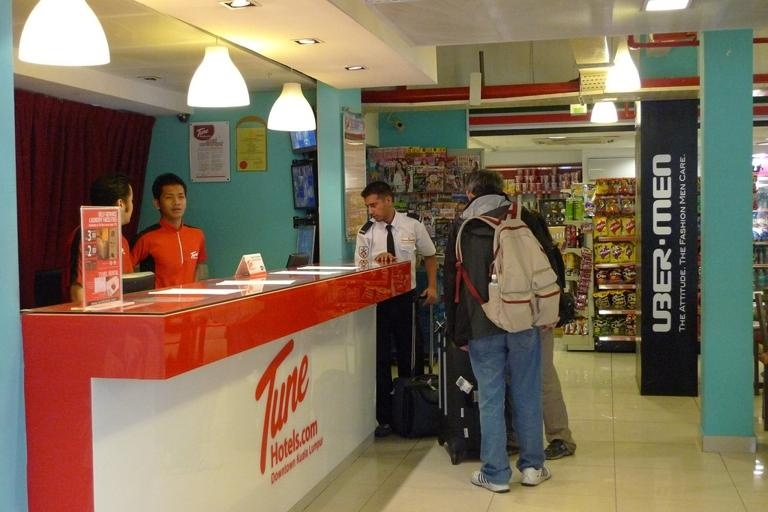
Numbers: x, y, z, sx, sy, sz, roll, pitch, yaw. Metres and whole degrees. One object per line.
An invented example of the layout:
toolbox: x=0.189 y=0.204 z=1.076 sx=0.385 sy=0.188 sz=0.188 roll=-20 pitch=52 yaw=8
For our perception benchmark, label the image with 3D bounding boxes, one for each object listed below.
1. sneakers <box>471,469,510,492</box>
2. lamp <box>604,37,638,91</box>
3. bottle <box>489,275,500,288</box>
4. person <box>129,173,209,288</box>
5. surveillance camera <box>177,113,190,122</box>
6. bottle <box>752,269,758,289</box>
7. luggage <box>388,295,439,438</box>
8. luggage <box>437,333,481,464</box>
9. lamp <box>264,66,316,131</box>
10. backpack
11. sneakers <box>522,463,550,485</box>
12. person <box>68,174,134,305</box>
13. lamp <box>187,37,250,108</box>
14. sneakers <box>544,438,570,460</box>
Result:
sneakers: x=0.762 y=1.666 z=4.244 sx=0.112 sy=0.119 sz=0.291 roll=-8 pitch=16 yaw=-42
lamp: x=2.511 y=-1.987 z=6.088 sx=0.345 sy=0.589 sz=0.280 roll=1 pitch=6 yaw=20
bottle: x=0.762 y=0.182 z=4.000 sx=0.079 sy=0.082 sz=0.076 roll=-4 pitch=9 yaw=-16
person: x=-1.972 y=-0.222 z=5.310 sx=0.632 sy=1.029 sz=0.386 roll=-3 pitch=6 yaw=-21
surveillance camera: x=-2.582 y=-1.777 z=7.532 sx=0.142 sy=0.109 sz=0.081 roll=-3 pitch=6 yaw=-13
bottle: x=5.396 y=0.316 z=8.415 sx=0.045 sy=0.247 sz=0.228 roll=3 pitch=7 yaw=35
luggage: x=0.262 y=1.036 z=5.318 sx=0.416 sy=1.135 sz=0.768 roll=-2 pitch=6 yaw=-5
luggage: x=0.705 y=1.153 z=5.033 sx=0.438 sy=1.056 sz=0.717 roll=-4 pitch=-8 yaw=-4
lamp: x=-0.837 y=-1.356 z=5.366 sx=0.509 sy=0.411 sz=0.483 roll=-4 pitch=10 yaw=-21
backpack: x=0.857 y=0.113 z=4.044 sx=0.711 sy=0.852 sz=0.274 roll=-1 pitch=6 yaw=5
sneakers: x=1.121 y=1.616 z=4.337 sx=0.094 sy=0.115 sz=0.271 roll=3 pitch=6 yaw=43
person: x=-1.885 y=-0.162 z=3.898 sx=0.392 sy=0.805 sz=1.264 roll=-4 pitch=6 yaw=-23
lamp: x=-1.238 y=-1.319 z=4.325 sx=0.502 sy=0.432 sz=0.505 roll=2 pitch=5 yaw=26
sneakers: x=1.426 y=1.584 z=4.733 sx=0.299 sy=0.128 sz=0.105 roll=7 pitch=-9 yaw=-39
